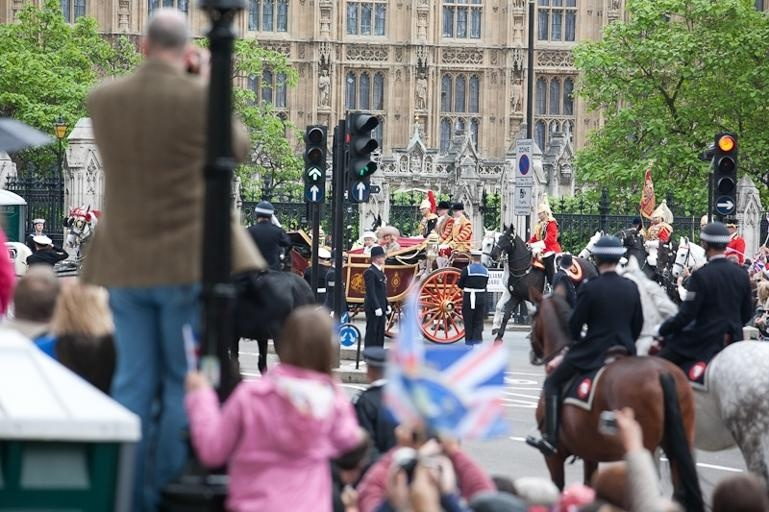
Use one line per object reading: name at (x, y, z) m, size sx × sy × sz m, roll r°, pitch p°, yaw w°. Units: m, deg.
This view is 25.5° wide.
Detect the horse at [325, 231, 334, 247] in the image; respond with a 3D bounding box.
horse at (-1.568, -0.507, 49.405) m, size 0.351 × 0.466 × 0.462 m, roll 1°, pitch 10°, yaw 2°

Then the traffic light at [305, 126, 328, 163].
traffic light at (-1.645, -2.703, 41.072) m, size 0.489 × 0.882 × 0.458 m, roll 2°, pitch 5°, yaw -5°

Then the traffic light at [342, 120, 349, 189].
traffic light at (-0.899, -2.424, 40.532) m, size 0.178 × 1.677 × 0.463 m, roll 2°, pitch 5°, yaw -1°

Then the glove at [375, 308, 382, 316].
glove at (-0.113, 1.441, 42.572) m, size 0.173 × 0.165 × 0.061 m, roll 7°, pitch -5°, yaw -28°

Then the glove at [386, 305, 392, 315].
glove at (0.148, 1.490, 46.049) m, size 0.169 × 0.237 × 0.083 m, roll -1°, pitch 3°, yaw -22°

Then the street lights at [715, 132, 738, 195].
street lights at (7.972, -2.040, 39.520) m, size 0.488 × 1.669 × 0.439 m, roll 1°, pitch 1°, yaw 8°
